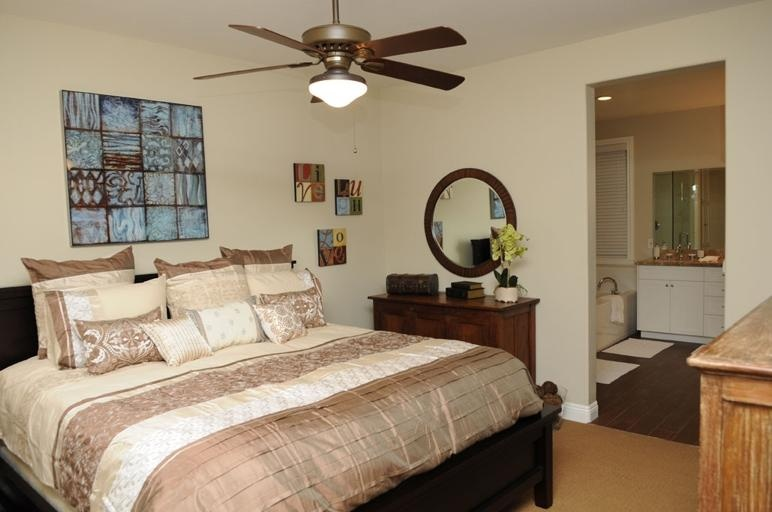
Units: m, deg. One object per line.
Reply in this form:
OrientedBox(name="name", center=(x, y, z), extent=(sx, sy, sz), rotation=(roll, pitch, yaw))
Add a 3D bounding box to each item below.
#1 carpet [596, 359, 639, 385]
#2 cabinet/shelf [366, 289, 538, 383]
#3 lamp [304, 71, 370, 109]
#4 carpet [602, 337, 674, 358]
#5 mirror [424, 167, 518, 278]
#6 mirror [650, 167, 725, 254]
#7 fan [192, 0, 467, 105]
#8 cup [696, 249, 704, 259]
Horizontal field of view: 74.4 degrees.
OrientedBox(name="carpet", center=(2.694, 1.341, 5.939), extent=(0.448, 0.028, 0.884), rotation=(0, 8, 25))
OrientedBox(name="cabinet/shelf", center=(0.623, 0.652, 4.239), extent=(0.910, 0.835, 0.359), rotation=(1, 0, 31))
OrientedBox(name="lamp", center=(-0.317, -1.049, 3.071), extent=(0.235, 0.126, 0.336), rotation=(1, -7, -16))
OrientedBox(name="carpet", center=(3.393, 1.218, 6.840), extent=(1.001, 0.046, 0.588), rotation=(-10, 10, -43))
OrientedBox(name="mirror", center=(0.915, -0.362, 5.299), extent=(1.150, 1.225, 0.069), rotation=(4, 5, 40))
OrientedBox(name="mirror", center=(4.292, -0.633, 7.248), extent=(0.886, 1.214, 0.271), rotation=(5, 13, 43))
OrientedBox(name="fan", center=(-0.532, -1.590, 3.895), extent=(1.127, 0.558, 1.104), rotation=(0, -1, -36))
OrientedBox(name="cup", center=(4.482, -0.046, 7.252), extent=(0.075, 0.112, 0.088), rotation=(1, 10, 27))
